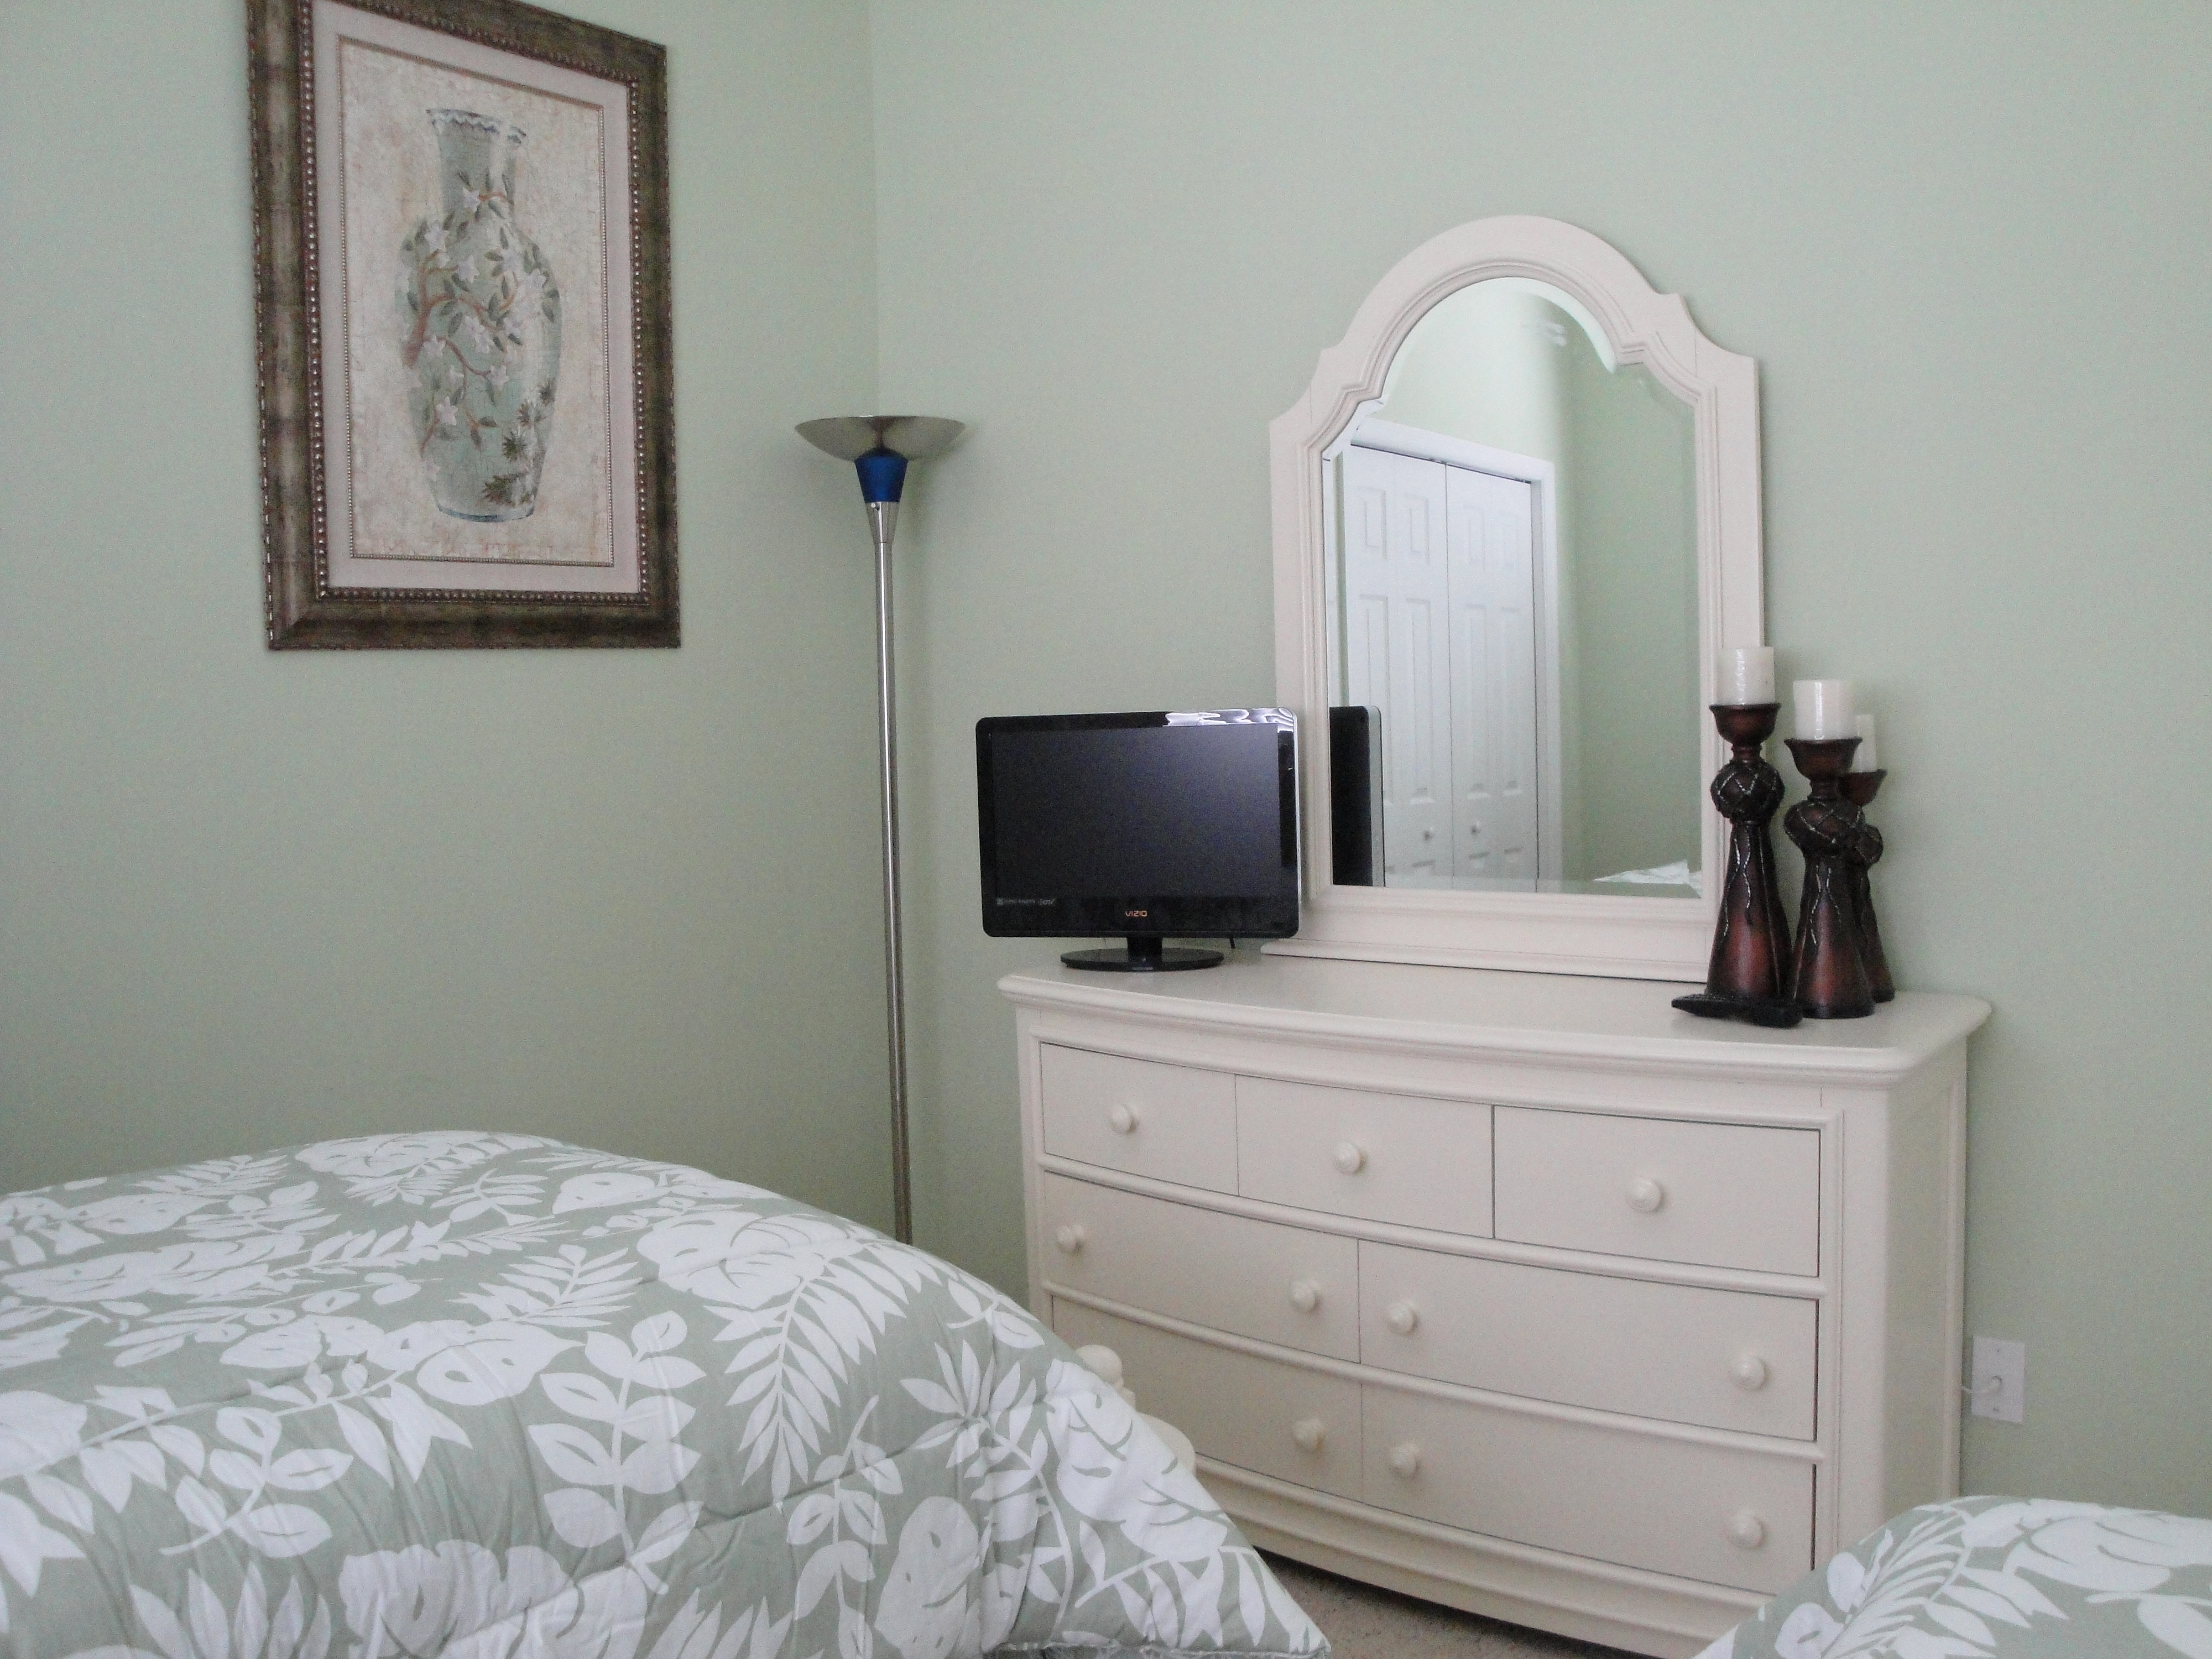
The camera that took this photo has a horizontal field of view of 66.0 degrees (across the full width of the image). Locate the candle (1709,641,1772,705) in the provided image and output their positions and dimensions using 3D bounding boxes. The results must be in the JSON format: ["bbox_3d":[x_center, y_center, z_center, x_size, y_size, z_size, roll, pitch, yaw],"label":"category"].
[{"bbox_3d":[0.955,-0.232,2.539,0.088,0.098,0.084,0,4,9],"label":"candle"}]

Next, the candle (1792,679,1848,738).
[{"bbox_3d":[1.050,-0.175,2.493,0.079,0.093,0.118,2,4,21],"label":"candle"}]

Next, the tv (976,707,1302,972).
[{"bbox_3d":[0.069,0.008,2.904,0.407,0.330,0.137,0,6,17],"label":"tv"}]

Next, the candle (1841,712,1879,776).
[{"bbox_3d":[1.140,-0.131,2.550,0.041,0.085,0.110,2,4,26],"label":"candle"}]
